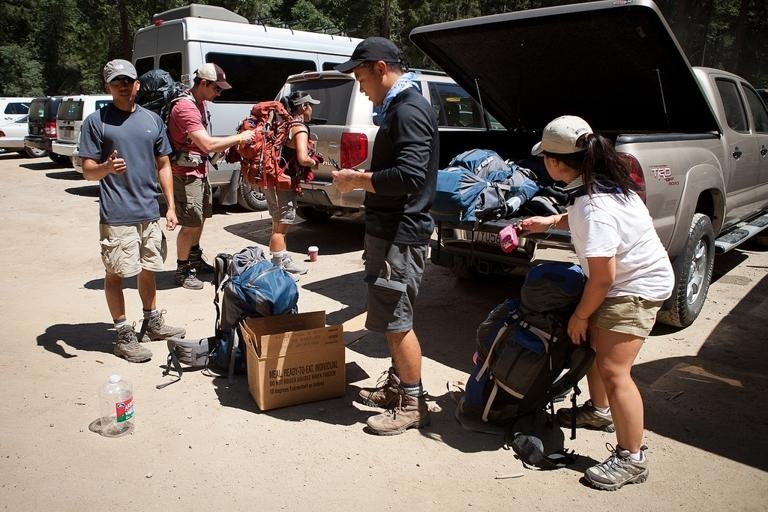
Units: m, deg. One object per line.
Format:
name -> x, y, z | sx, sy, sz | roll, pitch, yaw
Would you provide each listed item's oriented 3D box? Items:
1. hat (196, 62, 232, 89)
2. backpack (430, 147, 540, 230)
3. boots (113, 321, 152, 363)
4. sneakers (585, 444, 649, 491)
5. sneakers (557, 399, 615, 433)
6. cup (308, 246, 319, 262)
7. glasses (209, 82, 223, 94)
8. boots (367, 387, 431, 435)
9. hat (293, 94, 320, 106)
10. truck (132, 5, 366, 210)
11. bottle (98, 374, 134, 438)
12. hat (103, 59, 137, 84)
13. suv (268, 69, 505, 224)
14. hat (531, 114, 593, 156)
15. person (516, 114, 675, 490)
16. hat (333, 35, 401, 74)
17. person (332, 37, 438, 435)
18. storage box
hat -> -2.064, -2.165, 6.597 | 0.335, 0.301, 0.616 | -5, 17, -16
backpack -> 1.040, -0.689, 5.407 | 0.981, 0.404, 0.734 | -17, 23, -41
boots -> -2.425, 0.814, 5.267 | 0.543, 0.342, 0.211 | 12, 10, 23
sneakers -> 1.640, 1.475, 3.949 | 0.530, 0.239, 0.208 | -8, 12, -9
sneakers -> 1.620, 1.266, 4.406 | 0.494, 0.229, 0.215 | 5, 17, 21
cup -> -1.016, -0.026, 7.894 | 0.150, 0.134, 0.146 | 3, 34, -2
glasses -> -1.985, -1.976, 6.465 | 0.037, 0.109, 0.112 | -23, -3, 20
boots -> 0.137, 1.239, 4.459 | 0.617, 0.383, 0.228 | 0, 9, -9
hat -> -0.992, -1.931, 6.799 | 0.394, 0.102, 0.237 | -4, 20, -11
truck -> -2.280, -3.584, 12.157 | 5.503, 2.964, 3.234 | -10, 16, -37
bottle -> -2.120, 1.135, 4.303 | 0.267, 0.421, 0.368 | -8, 19, -24
hat -> -2.377, -1.656, 4.949 | 0.227, 0.148, 0.302 | -8, 16, -21
suv -> 0.673, -1.789, 8.389 | 3.465, 1.477, 1.811 | -15, 19, -37
hat -> 1.268, -0.871, 3.915 | 0.348, 0.214, 0.445 | -20, 21, -30
person -> 1.595, 0.300, 3.926 | 0.677, 2.500, 0.991 | -8, 19, -23
hat -> -0.115, -1.531, 4.223 | 0.507, 0.215, 0.293 | -8, 4, 3
person -> 0.063, -0.139, 4.263 | 0.782, 2.974, 0.839 | -5, 18, -14
storage box -> -0.750, 0.841, 4.728 | 0.825, 0.698, 0.499 | -7, 18, -21
